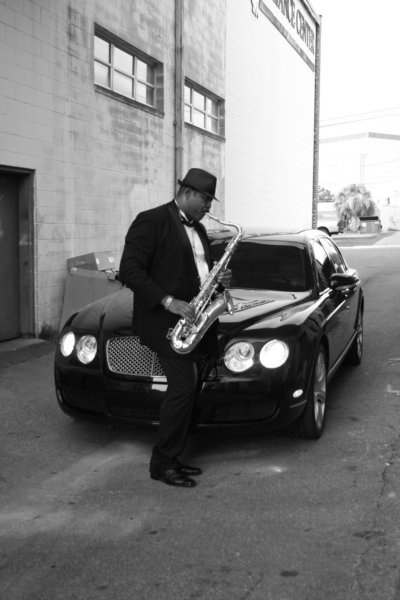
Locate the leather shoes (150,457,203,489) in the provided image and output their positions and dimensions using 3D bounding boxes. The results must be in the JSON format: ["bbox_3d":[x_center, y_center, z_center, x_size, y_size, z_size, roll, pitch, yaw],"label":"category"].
[{"bbox_3d":[-0.142,0.942,2.367,0.245,0.154,0.145,1,7,8],"label":"leather shoes"}]

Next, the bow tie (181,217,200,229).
[{"bbox_3d":[-0.059,-0.419,2.371,0.051,0.037,0.074,6,20,-34],"label":"bow tie"}]

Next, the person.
[{"bbox_3d":[-0.135,0.057,2.373,0.513,1.869,0.538,1,2,25],"label":"person"}]

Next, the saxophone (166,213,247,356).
[{"bbox_3d":[0.040,-0.066,2.354,0.373,0.749,0.446,4,9,8],"label":"saxophone"}]

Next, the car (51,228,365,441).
[{"bbox_3d":[0.576,0.206,4.718,1.774,1.707,4.483,-1,2,23],"label":"car"}]

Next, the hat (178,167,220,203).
[{"bbox_3d":[-0.011,-0.612,2.300,0.184,0.193,0.164,0,-2,-1],"label":"hat"}]
